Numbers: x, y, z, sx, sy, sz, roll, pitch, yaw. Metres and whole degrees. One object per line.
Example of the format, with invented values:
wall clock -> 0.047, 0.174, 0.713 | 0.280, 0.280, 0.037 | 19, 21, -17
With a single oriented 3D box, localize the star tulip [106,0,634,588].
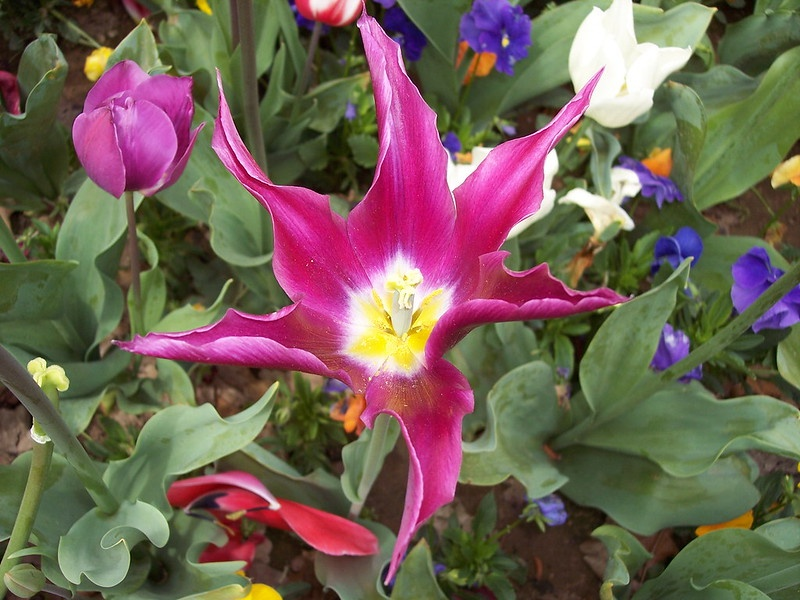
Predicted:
star tulip -> -0.064, 0.024, 1.642 | 0.667, 1.038, 0.698 | -22, 67, -9
